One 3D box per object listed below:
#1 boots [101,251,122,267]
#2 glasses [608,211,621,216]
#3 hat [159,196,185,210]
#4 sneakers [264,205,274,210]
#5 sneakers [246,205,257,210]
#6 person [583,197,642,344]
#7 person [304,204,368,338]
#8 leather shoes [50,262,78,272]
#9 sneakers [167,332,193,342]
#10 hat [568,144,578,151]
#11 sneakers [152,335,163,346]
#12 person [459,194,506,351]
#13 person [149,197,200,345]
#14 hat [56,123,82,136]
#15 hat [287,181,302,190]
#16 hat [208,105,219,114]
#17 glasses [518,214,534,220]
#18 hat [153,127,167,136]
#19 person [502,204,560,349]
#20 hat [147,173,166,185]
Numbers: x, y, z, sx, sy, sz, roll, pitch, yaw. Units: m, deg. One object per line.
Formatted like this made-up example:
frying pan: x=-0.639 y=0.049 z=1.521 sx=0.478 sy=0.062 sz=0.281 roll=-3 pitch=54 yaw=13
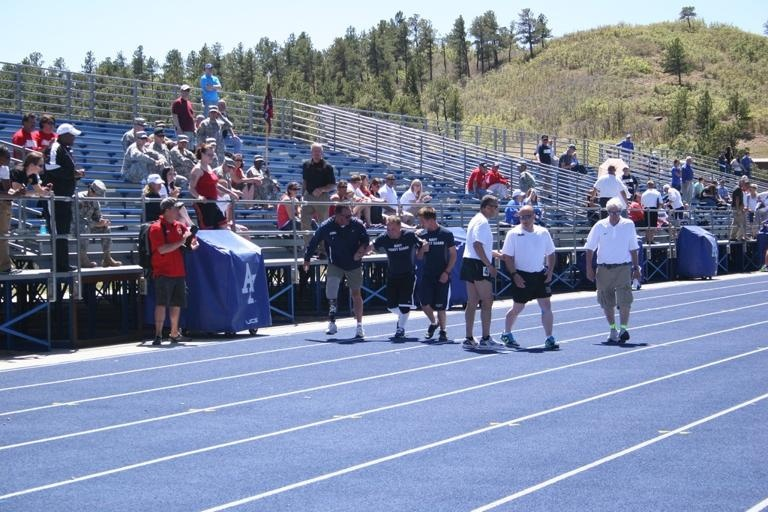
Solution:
boots: x=-5.160 y=0.047 z=22.417 sx=0.427 sy=0.373 sz=0.189 roll=-1 pitch=12 yaw=-17
glasses: x=4.262 y=-0.804 z=21.962 sx=0.133 sy=0.097 sz=0.131 roll=-1 pitch=9 yaw=17
hat: x=-3.878 y=-0.966 z=21.717 sx=0.348 sy=0.176 sz=0.234 roll=-17 pitch=13 yaw=-17
sneakers: x=-2.684 y=-1.149 z=27.606 sx=0.158 sy=0.140 sz=0.138 roll=-2 pitch=-6 yaw=25
sneakers: x=-3.041 y=-1.129 z=27.427 sx=0.160 sy=0.086 sz=0.419 roll=2 pitch=5 yaw=10
person: x=4.295 y=0.246 z=22.187 sx=1.057 sy=2.637 sz=1.043 roll=1 pitch=4 yaw=3
person: x=-0.858 y=0.261 z=22.636 sx=1.165 sy=2.542 sz=0.650 roll=0 pitch=4 yaw=-3
leather shoes: x=-5.763 y=0.200 z=21.326 sx=0.164 sy=0.130 sz=0.407 roll=-7 pitch=-4 yaw=21
sneakers: x=-3.821 y=1.498 z=22.142 sx=0.556 sy=0.203 sz=0.174 roll=-1 pitch=1 yaw=-8
hat: x=6.034 y=-3.489 z=38.039 sx=0.238 sy=0.154 sz=0.336 roll=7 pitch=13 yaw=26
sneakers: x=-4.183 y=1.530 z=21.864 sx=0.163 sy=0.165 sz=0.336 roll=0 pitch=5 yaw=-11
person: x=1.756 y=0.259 z=21.548 sx=0.673 sy=2.742 sz=1.261 roll=1 pitch=4 yaw=3
person: x=-3.918 y=0.264 z=21.896 sx=0.823 sy=2.687 sz=0.438 roll=-1 pitch=5 yaw=-21
hat: x=-5.704 y=-2.280 z=21.431 sx=0.279 sy=0.202 sz=0.352 roll=-3 pitch=6 yaw=-39
hat: x=-1.986 y=-1.545 z=26.025 sx=0.261 sy=0.104 sz=0.336 roll=0 pitch=1 yaw=-11
hat: x=-3.873 y=-3.385 z=26.965 sx=0.310 sy=0.148 sz=0.477 roll=-1 pitch=8 yaw=-9
glasses: x=2.558 y=-0.696 z=21.255 sx=0.245 sy=0.116 sz=0.210 roll=1 pitch=5 yaw=3
hat: x=-4.709 y=-2.594 z=24.763 sx=0.223 sy=0.181 sz=0.177 roll=-9 pitch=0 yaw=35
person: x=2.674 y=0.352 z=21.651 sx=1.028 sy=2.575 sz=1.052 roll=1 pitch=4 yaw=5
hat: x=-4.385 y=-1.456 z=22.372 sx=0.325 sy=0.158 sz=0.231 roll=4 pitch=7 yaw=32
